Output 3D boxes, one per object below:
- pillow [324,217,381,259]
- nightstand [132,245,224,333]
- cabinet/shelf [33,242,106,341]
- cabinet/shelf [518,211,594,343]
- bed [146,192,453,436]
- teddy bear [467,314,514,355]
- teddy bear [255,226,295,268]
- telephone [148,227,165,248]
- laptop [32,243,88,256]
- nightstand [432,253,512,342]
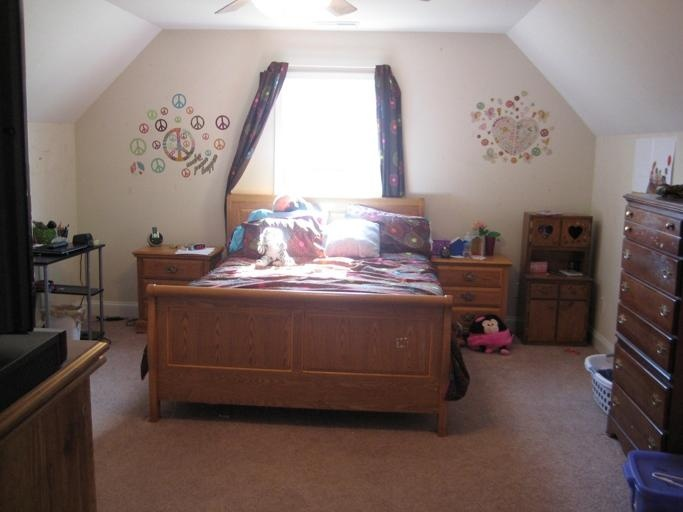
[{"bbox_3d":[0.087,-0.148,4.455,0.324,0.113,0.353,0,27,2],"label":"pillow"},{"bbox_3d":[-1.536,0.250,4.897,0.678,0.753,0.506,3,21,-13],"label":"nightstand"},{"bbox_3d":[-2.076,0.260,4.022,0.293,0.740,0.750,1,4,-3],"label":"cabinet/shelf"},{"bbox_3d":[1.903,0.194,4.703,0.476,1.093,0.402,2,10,15],"label":"cabinet/shelf"},{"bbox_3d":[-0.196,0.204,4.203,1.864,1.276,2.502,2,8,3],"label":"bed"},{"bbox_3d":[1.229,0.659,4.421,0.299,0.253,0.305,0,-3,3],"label":"teddy bear"},{"bbox_3d":[-0.534,-0.056,4.168,0.204,0.190,0.338,-1,-3,-3],"label":"teddy bear"},{"bbox_3d":[-1.722,-0.157,4.890,0.126,0.197,0.063,-10,-3,-25],"label":"telephone"},{"bbox_3d":[-2.159,-0.053,4.058,0.340,0.072,0.413,-1,12,-9],"label":"laptop"},{"bbox_3d":[1.120,0.257,4.829,0.805,0.861,0.504,-1,7,2],"label":"nightstand"}]
